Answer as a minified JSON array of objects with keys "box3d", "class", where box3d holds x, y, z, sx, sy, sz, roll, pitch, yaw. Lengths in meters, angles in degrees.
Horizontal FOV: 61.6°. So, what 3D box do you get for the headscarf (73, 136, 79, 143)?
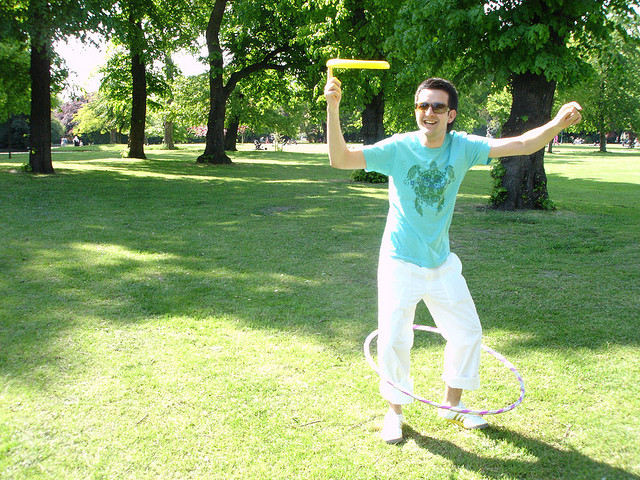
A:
[{"box3d":[-27.149,-11.400,59.778,0.505,0.763,0.303,0,-10,-17],"class":"headscarf"}]
